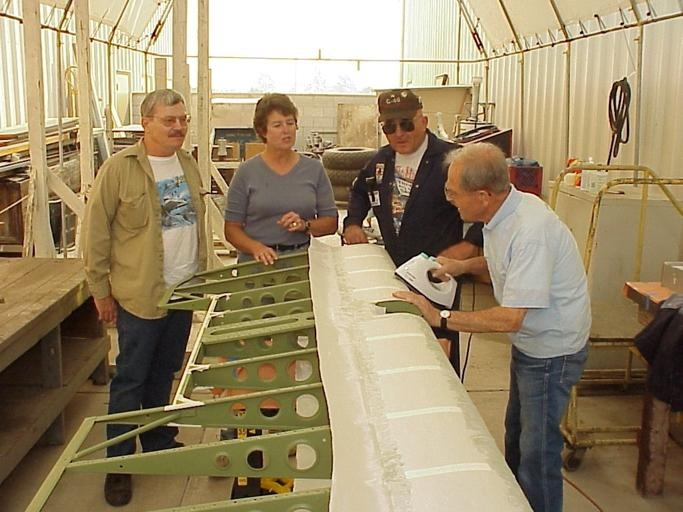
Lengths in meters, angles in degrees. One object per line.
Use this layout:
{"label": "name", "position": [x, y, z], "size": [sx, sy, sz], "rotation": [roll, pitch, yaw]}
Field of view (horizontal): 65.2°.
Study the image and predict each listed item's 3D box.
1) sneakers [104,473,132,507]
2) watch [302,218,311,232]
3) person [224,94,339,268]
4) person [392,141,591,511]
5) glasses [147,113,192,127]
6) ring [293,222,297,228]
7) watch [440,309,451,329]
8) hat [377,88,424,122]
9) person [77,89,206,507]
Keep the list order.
{"label": "sneakers", "position": [-1.232, 1.296, 2.964], "size": [0.135, 0.102, 0.256], "rotation": [4, 53, -31]}
{"label": "watch", "position": [-0.208, -0.178, 3.187], "size": [0.030, 0.080, 0.090], "rotation": [5, 16, 18]}
{"label": "person", "position": [-0.364, -0.429, 3.141], "size": [0.673, 1.012, 0.479], "rotation": [-1, 16, -2]}
{"label": "person", "position": [0.778, 0.350, 2.463], "size": [0.729, 1.694, 0.403], "rotation": [4, 16, 15]}
{"label": "glasses", "position": [-0.922, -0.724, 2.862], "size": [0.184, 0.065, 0.066], "rotation": [-10, 18, -32]}
{"label": "ring", "position": [-0.273, -0.183, 3.123], "size": [0.036, 0.031, 0.009], "rotation": [4, 1, -2]}
{"label": "watch", "position": [0.449, 0.273, 2.341], "size": [0.043, 0.069, 0.066], "rotation": [1, 48, 10]}
{"label": "hat", "position": [0.332, -0.860, 3.062], "size": [0.234, 0.176, 0.262], "rotation": [0, 15, 1]}
{"label": "person", "position": [-1.046, 0.229, 2.973], "size": [0.798, 2.212, 0.506], "rotation": [-11, 19, -33]}
